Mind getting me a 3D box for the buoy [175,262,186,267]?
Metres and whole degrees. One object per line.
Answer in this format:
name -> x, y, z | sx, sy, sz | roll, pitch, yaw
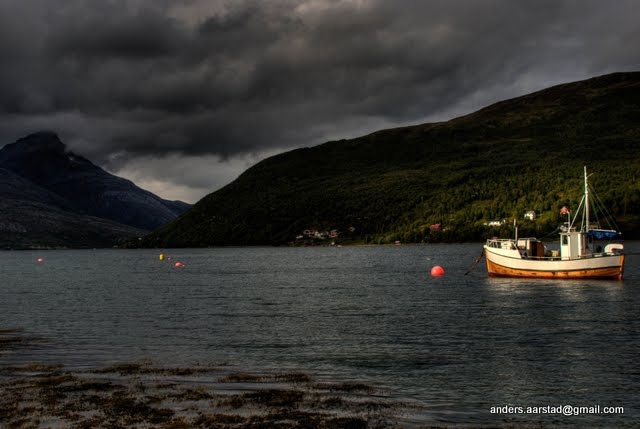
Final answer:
buoy -> -46.962, 16.854, 231.369 | 1.316, 1.678, 4.240 | 3, -1, -23
